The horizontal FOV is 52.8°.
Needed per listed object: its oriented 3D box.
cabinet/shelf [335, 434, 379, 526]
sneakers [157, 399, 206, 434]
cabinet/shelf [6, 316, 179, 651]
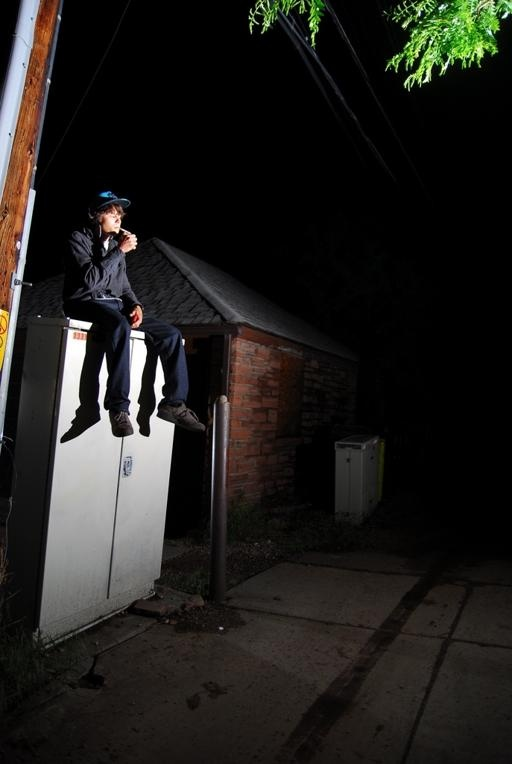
[{"bbox_3d":[1.572,1.544,8.094,0.422,1.173,1.185,-1,-1,18],"label":"cabinet/shelf"},{"bbox_3d":[-0.656,0.328,4.569,0.491,0.227,0.190,29,8,-28],"label":"sneakers"},{"bbox_3d":[-1.207,0.692,3.850,0.418,2.145,1.262,-2,-5,25],"label":"cabinet/shelf"}]
